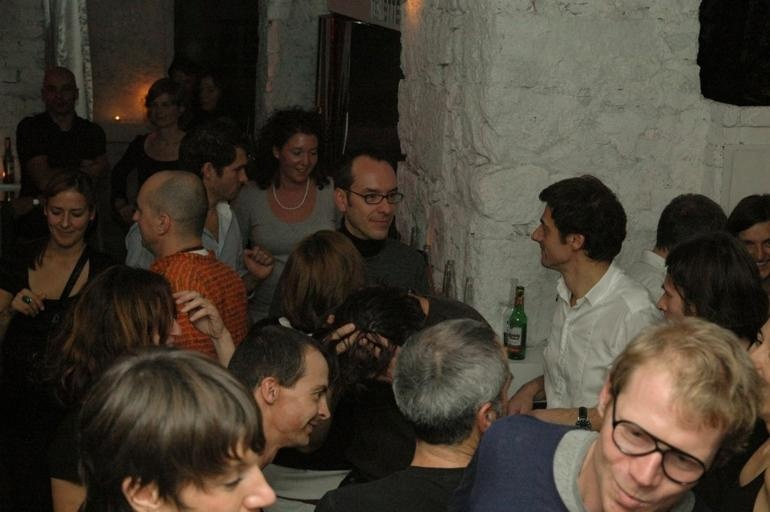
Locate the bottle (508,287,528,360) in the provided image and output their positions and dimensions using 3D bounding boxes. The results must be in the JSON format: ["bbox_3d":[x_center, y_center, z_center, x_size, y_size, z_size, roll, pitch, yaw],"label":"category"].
[{"bbox_3d":[0.770,0.382,4.326,0.131,0.437,0.151,6,7,2],"label":"bottle"}]

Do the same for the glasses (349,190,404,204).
[{"bbox_3d":[-0.066,-0.336,4.212,0.261,0.089,0.074,5,6,-14],"label":"glasses"}]
